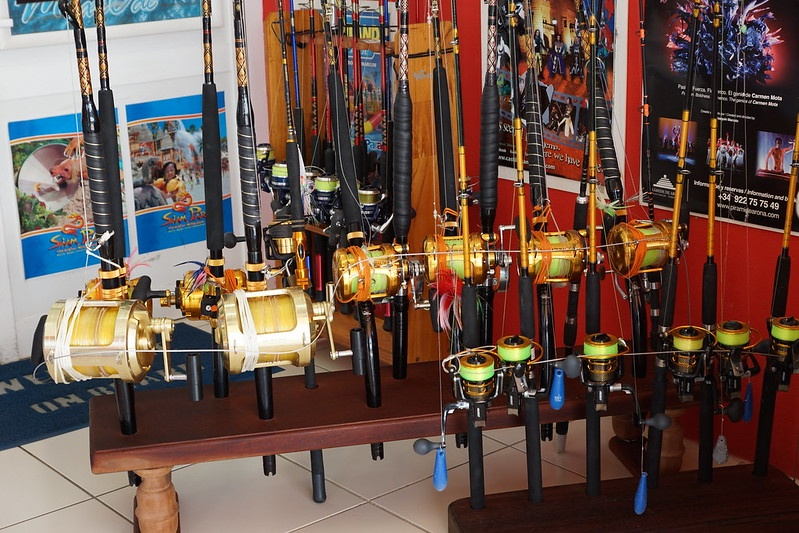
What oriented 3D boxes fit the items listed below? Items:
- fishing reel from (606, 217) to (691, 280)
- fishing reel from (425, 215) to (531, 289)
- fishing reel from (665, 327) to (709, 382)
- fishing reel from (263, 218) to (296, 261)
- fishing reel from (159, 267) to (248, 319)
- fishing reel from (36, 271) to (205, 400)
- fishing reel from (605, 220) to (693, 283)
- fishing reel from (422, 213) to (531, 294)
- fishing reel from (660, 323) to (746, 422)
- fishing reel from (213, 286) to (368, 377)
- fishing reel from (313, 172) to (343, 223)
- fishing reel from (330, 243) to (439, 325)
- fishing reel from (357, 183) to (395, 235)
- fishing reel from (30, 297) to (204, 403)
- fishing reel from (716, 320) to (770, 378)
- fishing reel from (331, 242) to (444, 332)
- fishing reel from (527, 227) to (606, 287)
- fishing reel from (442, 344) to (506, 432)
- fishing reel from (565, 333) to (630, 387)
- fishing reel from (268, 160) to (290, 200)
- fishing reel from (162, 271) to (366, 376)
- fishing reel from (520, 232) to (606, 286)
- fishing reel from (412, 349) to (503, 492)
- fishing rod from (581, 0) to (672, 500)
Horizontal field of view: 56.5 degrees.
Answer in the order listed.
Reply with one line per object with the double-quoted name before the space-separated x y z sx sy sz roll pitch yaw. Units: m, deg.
"fishing reel" 0.818 -0.067 2.537 0.195 0.182 0.196 -2 16 -8
"fishing reel" 0.215 -0.053 2.410 0.240 0.139 0.193 -4 29 0
"fishing reel" 0.892 0.261 2.290 0.131 0.146 0.143 -10 15 -30
"fishing reel" -0.407 -0.091 2.626 0.105 0.137 0.131 -7 -1 27
"fishing reel" -0.623 0.087 2.359 0.222 0.113 0.176 -2 39 -3
"fishing reel" -0.869 0.196 2.240 0.374 0.241 0.451 15 23 35
"fishing reel" 0.830 -0.072 2.530 0.206 0.189 0.191 -6 9 -9
"fishing reel" 0.210 -0.027 2.375 0.251 0.150 0.215 -5 35 2
"fishing reel" 0.975 0.316 2.300 0.285 0.269 0.216 -3 12 0
"fishing reel" -0.360 0.166 2.158 0.331 0.215 0.215 -4 15 -18
"fishing reel" -0.296 -0.276 3.084 0.132 0.190 0.123 5 6 33
"fishing reel" -0.041 0.032 2.432 0.317 0.210 0.198 -1 18 -6
"fishing reel" -0.091 -0.227 2.933 0.136 0.177 0.178 -1 26 1
"fishing reel" -0.843 0.221 2.183 0.396 0.251 0.259 -1 21 -2
"fishing reel" 1.034 0.250 2.300 0.164 0.108 0.221 -1 19 16
"fishing reel" -0.054 0.028 2.450 0.297 0.224 0.230 -3 16 -3
"fishing reel" 0.508 -0.033 2.438 0.241 0.183 0.176 -2 16 -12
"fishing reel" 0.236 0.401 2.231 0.151 0.252 0.149 -2 11 -1
"fishing reel" 0.577 0.284 2.276 0.216 0.116 0.185 -8 17 -35
"fishing reel" -0.534 -0.362 3.197 0.125 0.142 0.127 3 5 -29
"fishing reel" -0.417 0.139 2.194 0.397 0.188 0.415 -3 55 -10
"fishing reel" 0.504 -0.022 2.437 0.250 0.189 0.195 -1 16 -14
"fishing reel" 0.183 0.480 2.257 0.269 0.407 0.223 3 -3 10
"fishing rod" 0.779 -0.076 2.543 0.286 1.812 0.247 -2 -1 26
